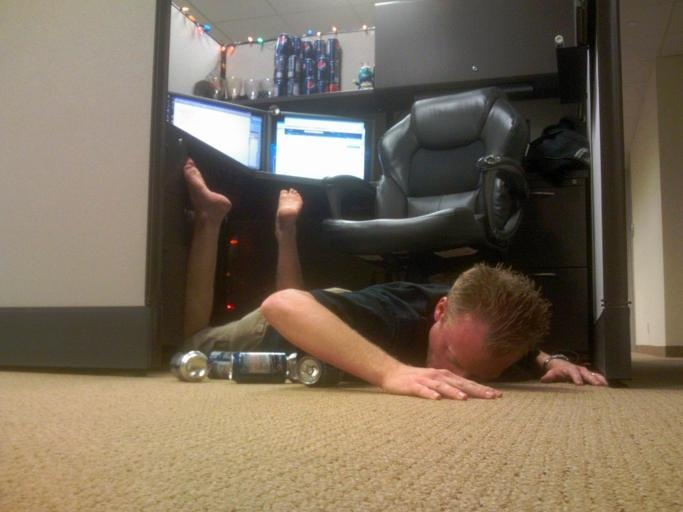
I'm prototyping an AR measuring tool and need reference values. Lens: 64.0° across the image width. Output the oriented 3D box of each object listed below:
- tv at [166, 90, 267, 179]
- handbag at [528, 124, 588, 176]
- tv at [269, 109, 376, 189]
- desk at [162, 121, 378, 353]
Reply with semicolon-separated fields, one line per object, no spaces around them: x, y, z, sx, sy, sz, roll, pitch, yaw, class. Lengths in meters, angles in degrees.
-0.503;-0.487;2.230;0.580;0.349;0.057;5;0;-40;tv
0.807;-0.374;2.099;0.234;0.097;0.245;3;41;46;handbag
-0.098;-0.489;2.552;0.438;0.339;0.049;2;-1;0;tv
-0.264;-0.058;1.874;0.877;0.877;0.528;1;-3;-20;desk
